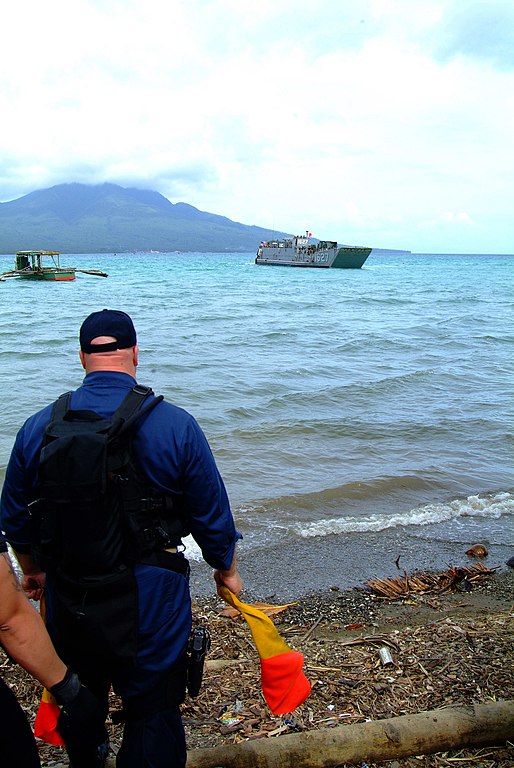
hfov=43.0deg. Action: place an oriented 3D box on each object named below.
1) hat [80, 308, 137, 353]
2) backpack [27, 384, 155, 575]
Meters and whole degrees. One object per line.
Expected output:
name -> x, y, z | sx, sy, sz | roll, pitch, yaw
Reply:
hat -> -0.614, -0.225, 2.715 | 0.178, 0.124, 0.230 | -1, 14, 6
backpack -> -0.614, 0.382, 2.509 | 0.484, 0.690, 0.376 | -1, 14, -9
